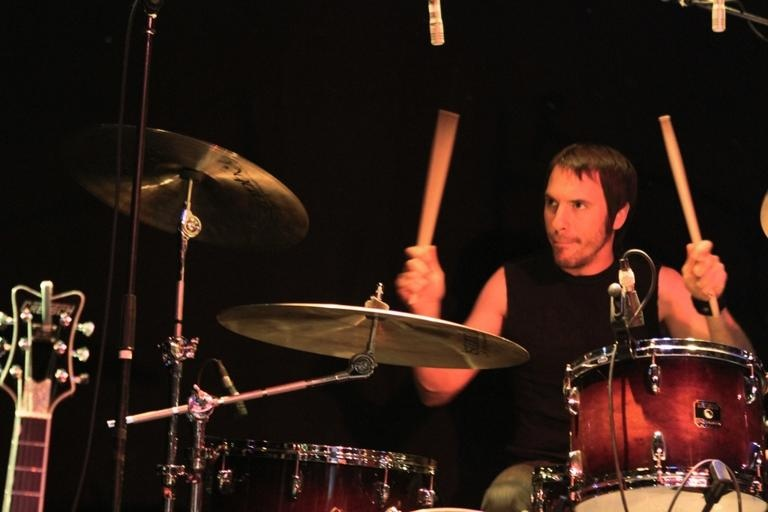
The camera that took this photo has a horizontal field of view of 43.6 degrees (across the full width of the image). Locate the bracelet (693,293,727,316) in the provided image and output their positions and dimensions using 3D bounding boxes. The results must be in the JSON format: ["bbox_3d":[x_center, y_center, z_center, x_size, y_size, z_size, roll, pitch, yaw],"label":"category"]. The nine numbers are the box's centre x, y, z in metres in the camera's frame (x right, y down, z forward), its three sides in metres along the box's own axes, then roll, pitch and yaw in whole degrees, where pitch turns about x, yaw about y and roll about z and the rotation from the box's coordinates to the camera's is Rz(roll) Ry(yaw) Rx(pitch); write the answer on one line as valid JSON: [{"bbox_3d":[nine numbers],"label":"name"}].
[{"bbox_3d":[1.519,0.234,4.461,0.114,0.074,0.103,2,-23,-3],"label":"bracelet"}]

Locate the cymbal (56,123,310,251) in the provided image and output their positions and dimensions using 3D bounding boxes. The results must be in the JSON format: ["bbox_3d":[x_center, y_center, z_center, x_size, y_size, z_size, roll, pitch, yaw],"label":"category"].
[{"bbox_3d":[-0.808,-0.310,4.074,0.774,0.143,0.754,6,-3,17],"label":"cymbal"}]

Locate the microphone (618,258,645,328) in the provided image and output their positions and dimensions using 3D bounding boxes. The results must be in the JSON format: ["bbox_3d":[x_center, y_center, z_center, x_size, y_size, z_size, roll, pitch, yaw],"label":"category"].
[{"bbox_3d":[0.941,0.139,3.638,0.073,0.260,0.213,-3,-16,14],"label":"microphone"}]
